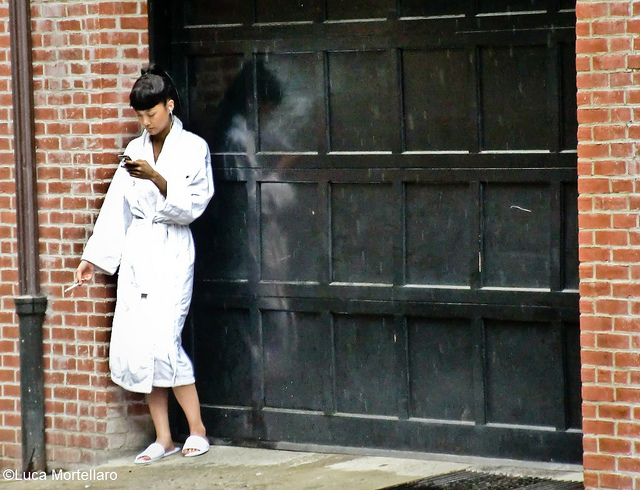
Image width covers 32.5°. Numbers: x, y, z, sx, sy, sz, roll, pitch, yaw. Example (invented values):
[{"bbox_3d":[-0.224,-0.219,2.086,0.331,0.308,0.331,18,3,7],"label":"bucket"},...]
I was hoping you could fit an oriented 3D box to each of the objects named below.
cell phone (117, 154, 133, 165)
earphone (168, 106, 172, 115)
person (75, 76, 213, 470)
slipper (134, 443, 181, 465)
[{"bbox_3d":[-1.246,-0.557,7.066,0.095,0.032,0.092,18,-24,7],"label":"cell phone"},{"bbox_3d":[-0.989,-0.881,7.289,0.016,0.053,0.037,-6,2,1],"label":"earphone"},{"bbox_3d":[-1.106,0.191,7.273,0.809,2.574,0.634,-1,-3,-11],"label":"person"},{"bbox_3d":[-1.113,1.399,7.422,0.091,0.071,0.258,-5,1,41],"label":"slipper"}]
